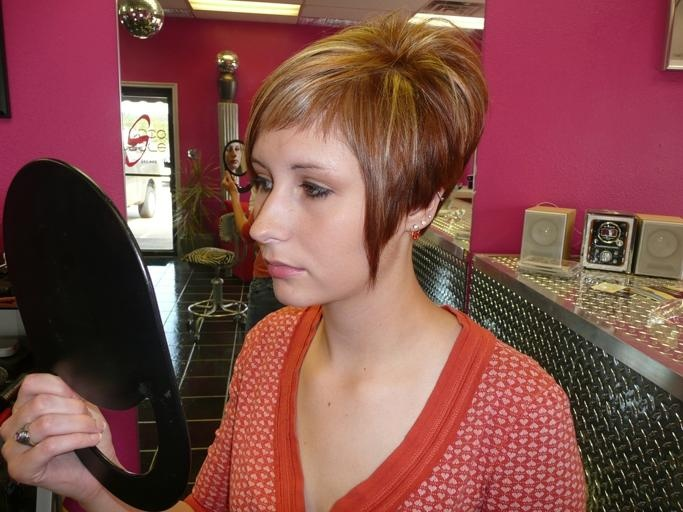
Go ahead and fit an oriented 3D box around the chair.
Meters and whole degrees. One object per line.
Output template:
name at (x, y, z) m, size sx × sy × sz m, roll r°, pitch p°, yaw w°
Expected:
chair at (-0.740, 0.136, 2.727) m, size 0.315 × 0.405 × 0.323 m, roll -1°, pitch 5°, yaw -34°
